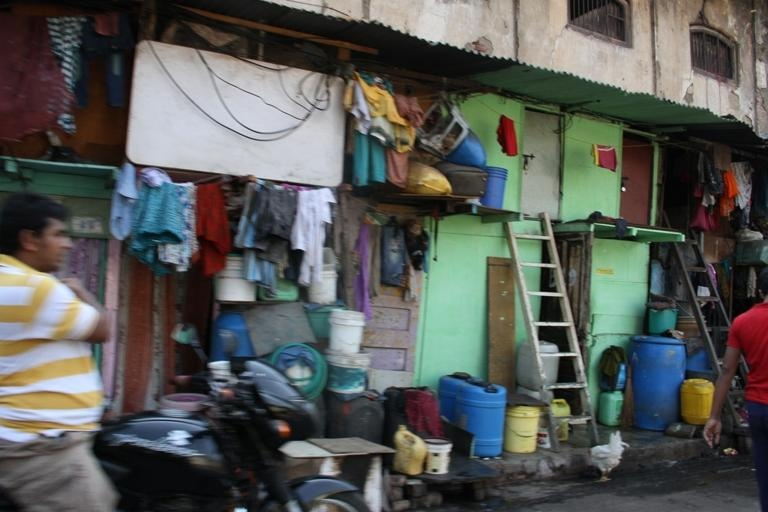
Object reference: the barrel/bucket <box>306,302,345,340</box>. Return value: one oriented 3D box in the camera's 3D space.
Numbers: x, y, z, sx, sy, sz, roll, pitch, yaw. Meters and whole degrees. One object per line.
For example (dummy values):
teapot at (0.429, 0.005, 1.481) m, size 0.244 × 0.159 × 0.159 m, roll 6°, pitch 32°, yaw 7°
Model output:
barrel/bucket at (-0.491, 1.420, 10.669) m, size 0.618 × 0.359 × 0.547 m, roll 7°, pitch -6°, yaw -16°

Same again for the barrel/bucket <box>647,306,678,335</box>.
barrel/bucket at (4.244, 0.985, 13.571) m, size 0.510 × 0.397 × 0.453 m, roll 7°, pitch -7°, yaw -21°

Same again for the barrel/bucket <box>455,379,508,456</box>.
barrel/bucket at (1.189, 2.095, 11.568) m, size 0.935 × 0.849 × 0.627 m, roll 3°, pitch -3°, yaw -20°

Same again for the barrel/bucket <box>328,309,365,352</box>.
barrel/bucket at (-0.456, 0.878, 10.399) m, size 0.576 × 0.435 × 0.478 m, roll 5°, pitch -5°, yaw 13°

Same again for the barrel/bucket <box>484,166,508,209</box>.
barrel/bucket at (1.465, -0.926, 11.927) m, size 0.222 × 0.589 × 0.626 m, roll -3°, pitch -8°, yaw 34°

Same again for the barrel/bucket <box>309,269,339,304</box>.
barrel/bucket at (-0.738, 0.376, 10.771) m, size 0.449 × 0.337 × 0.413 m, roll 2°, pitch -6°, yaw 0°

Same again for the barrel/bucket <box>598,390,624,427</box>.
barrel/bucket at (3.385, 2.280, 13.307) m, size 0.366 × 0.535 × 0.194 m, roll 0°, pitch -7°, yaw 12°

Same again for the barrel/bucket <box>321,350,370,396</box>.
barrel/bucket at (-0.439, 1.390, 10.586) m, size 0.618 × 0.350 × 0.541 m, roll 3°, pitch 0°, yaw 2°

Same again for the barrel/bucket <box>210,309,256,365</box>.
barrel/bucket at (-1.933, 0.881, 10.100) m, size 0.547 × 0.730 × 0.770 m, roll -2°, pitch 5°, yaw -4°

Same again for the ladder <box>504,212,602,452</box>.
ladder at (2.441, 1.052, 12.548) m, size 1.479 × 3.135 × 1.283 m, roll 3°, pitch -3°, yaw -17°

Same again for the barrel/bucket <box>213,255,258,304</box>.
barrel/bucket at (-1.751, 0.262, 10.407) m, size 0.477 × 0.550 × 0.145 m, roll 3°, pitch -7°, yaw -10°
